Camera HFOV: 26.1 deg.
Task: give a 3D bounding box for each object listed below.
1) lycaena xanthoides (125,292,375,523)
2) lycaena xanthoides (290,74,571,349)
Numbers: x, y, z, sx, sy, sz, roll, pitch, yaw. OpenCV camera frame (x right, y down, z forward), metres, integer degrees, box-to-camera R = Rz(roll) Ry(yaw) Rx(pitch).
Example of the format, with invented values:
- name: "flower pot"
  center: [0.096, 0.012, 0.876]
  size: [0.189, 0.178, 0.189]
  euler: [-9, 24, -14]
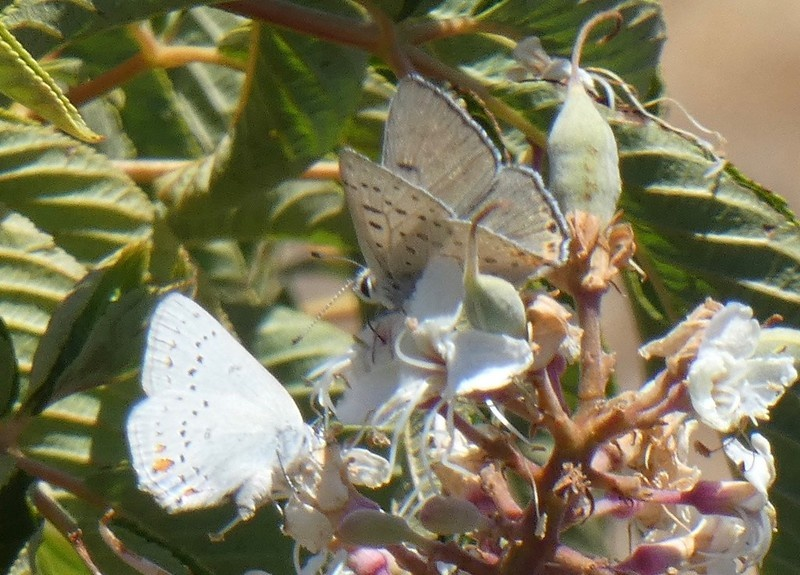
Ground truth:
- name: "lycaena xanthoides"
  center: [-0.223, 0.180, 2.459]
  size: [0.245, 0.299, 0.444]
  euler: [-3, -13, 10]
- name: "lycaena xanthoides"
  center: [0.053, -0.130, 2.529]
  size: [0.302, 0.286, 0.316]
  euler: [-17, 7, 17]
